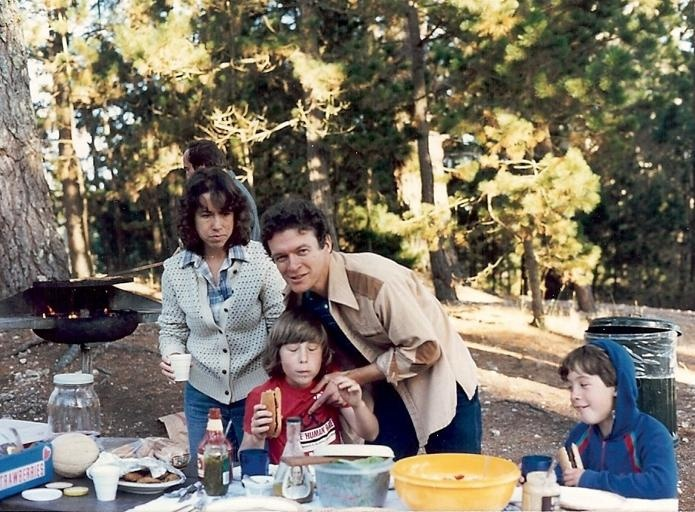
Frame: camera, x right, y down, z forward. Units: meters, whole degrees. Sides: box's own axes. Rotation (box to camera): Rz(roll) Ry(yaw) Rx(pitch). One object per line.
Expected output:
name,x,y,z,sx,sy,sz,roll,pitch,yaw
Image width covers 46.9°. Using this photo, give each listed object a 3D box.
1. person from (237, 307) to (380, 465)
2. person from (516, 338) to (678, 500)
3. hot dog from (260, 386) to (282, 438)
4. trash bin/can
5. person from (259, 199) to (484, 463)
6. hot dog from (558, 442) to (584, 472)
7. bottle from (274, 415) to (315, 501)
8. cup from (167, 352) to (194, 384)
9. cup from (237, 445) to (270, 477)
person,-0.269,1.074,5.281,0.907,1.403,0.738,-4,2,-16
person,1.764,1.129,5.488,0.831,1.150,1.313,4,-9,-16
hot dog,-0.455,0.974,4.957,0.076,0.271,0.156,1,-3,-29
trash bin/can,3.146,1.371,8.653,0.862,1.322,0.898,-8,-11,43
person,0.176,0.501,5.249,1.395,1.728,0.689,-1,-2,6
hot dog,1.414,1.257,5.139,0.177,0.251,0.250,0,-20,14
bottle,-0.307,1.188,4.722,0.216,0.487,0.288,-1,-3,16
cup,-1.125,0.754,5.428,0.162,0.183,0.165,-3,-19,-1
cup,-0.561,1.229,4.811,0.148,0.158,0.149,1,-7,0
